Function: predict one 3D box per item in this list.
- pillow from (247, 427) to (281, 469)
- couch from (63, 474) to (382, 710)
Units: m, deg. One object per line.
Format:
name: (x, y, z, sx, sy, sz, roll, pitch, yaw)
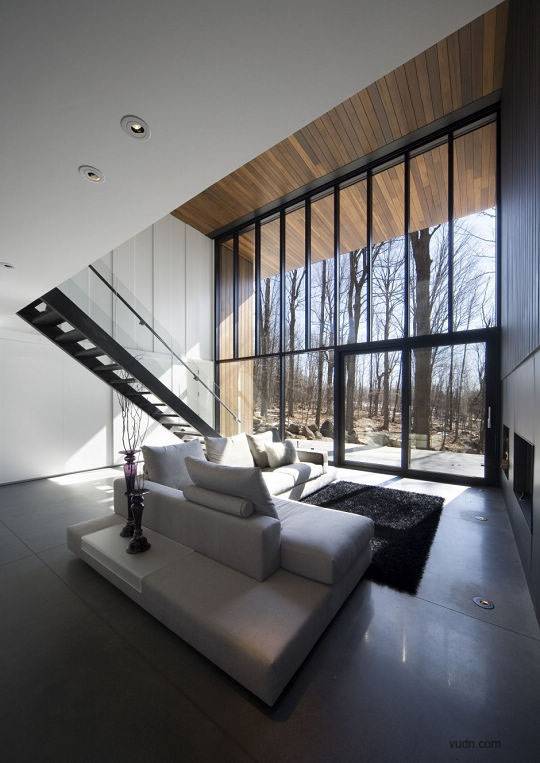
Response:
pillow: (-0.056, 0.689, 5.098, 0.118, 0.270, 0.356, -5, 4, 22)
couch: (-0.106, 0.979, 2.544, 1.046, 0.599, 0.818, 10, 11, 35)
